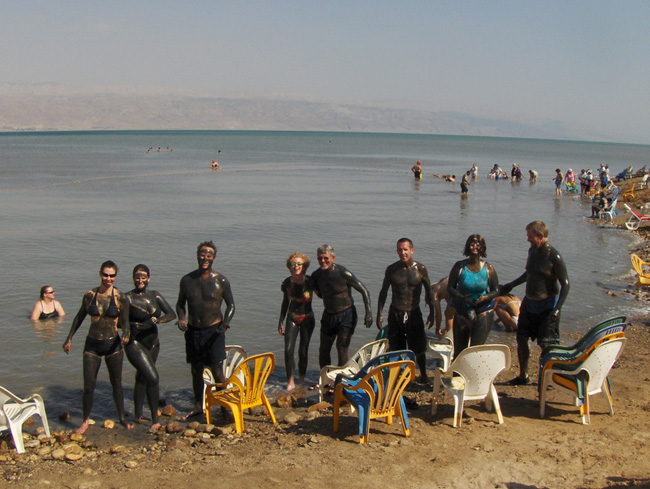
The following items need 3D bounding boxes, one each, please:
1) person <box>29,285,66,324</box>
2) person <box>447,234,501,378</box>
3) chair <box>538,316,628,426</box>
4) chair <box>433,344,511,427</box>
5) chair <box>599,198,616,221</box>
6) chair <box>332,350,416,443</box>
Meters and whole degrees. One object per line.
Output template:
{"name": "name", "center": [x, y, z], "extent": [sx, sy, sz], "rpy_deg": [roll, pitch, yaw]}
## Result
{"name": "person", "center": [-7.805, 1.687, 19.284], "extent": [0.594, 0.961, 1.249], "rpy_deg": [9, 4, 34]}
{"name": "person", "center": [2.871, 1.306, 13.557], "extent": [1.014, 2.851, 1.081], "rpy_deg": [8, 9, 40]}
{"name": "chair", "center": [4.713, 2.220, 12.631], "extent": [1.540, 1.698, 1.251], "rpy_deg": [0, 11, 10]}
{"name": "chair", "center": [2.630, 2.401, 12.524], "extent": [1.378, 1.490, 1.002], "rpy_deg": [2, 12, 20]}
{"name": "chair", "center": [16.401, -1.935, 40.051], "extent": [0.831, 1.015, 2.239], "rpy_deg": [2, 10, 21]}
{"name": "chair", "center": [0.851, 2.541, 12.100], "extent": [1.430, 1.478, 0.970], "rpy_deg": [-2, 11, 0]}
